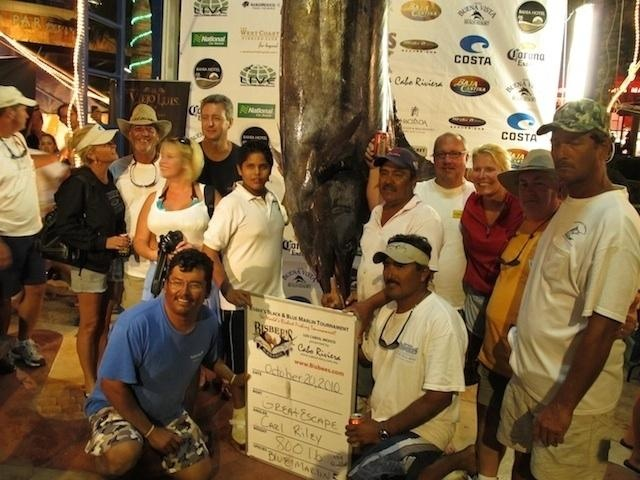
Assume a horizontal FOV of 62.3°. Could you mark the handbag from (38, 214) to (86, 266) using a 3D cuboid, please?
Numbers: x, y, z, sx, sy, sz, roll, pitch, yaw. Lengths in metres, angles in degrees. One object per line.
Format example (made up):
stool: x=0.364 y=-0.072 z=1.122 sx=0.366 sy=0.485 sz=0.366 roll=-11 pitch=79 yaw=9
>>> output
handbag: x=-2.354 y=0.015 z=4.773 sx=0.312 sy=0.550 sz=0.398 roll=6 pitch=-23 yaw=-24

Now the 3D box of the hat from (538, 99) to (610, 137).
hat: x=1.464 y=-0.700 z=3.018 sx=0.422 sy=0.225 sz=0.306 roll=-3 pitch=9 yaw=-28

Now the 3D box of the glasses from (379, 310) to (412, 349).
glasses: x=0.548 y=0.637 z=3.676 sx=0.066 sy=0.269 sz=0.193 roll=35 pitch=-13 yaw=-35

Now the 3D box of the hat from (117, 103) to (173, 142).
hat: x=-1.774 y=-1.240 z=5.366 sx=0.423 sy=0.213 sz=0.514 roll=1 pitch=3 yaw=-9

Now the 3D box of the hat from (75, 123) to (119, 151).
hat: x=-1.993 y=-0.922 z=4.748 sx=0.309 sy=0.129 sz=0.208 roll=-17 pitch=23 yaw=9

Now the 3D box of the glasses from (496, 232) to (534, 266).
glasses: x=1.393 y=0.061 z=3.781 sx=0.063 sy=0.213 sz=0.204 roll=27 pitch=-7 yaw=-13

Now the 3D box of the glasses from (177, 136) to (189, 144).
glasses: x=-1.153 y=-0.849 z=4.555 sx=0.035 sy=0.048 sz=0.118 roll=-23 pitch=10 yaw=-4

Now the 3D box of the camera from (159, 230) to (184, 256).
camera: x=-1.158 y=0.020 z=4.151 sx=0.177 sy=0.164 sz=0.183 roll=-1 pitch=14 yaw=-16

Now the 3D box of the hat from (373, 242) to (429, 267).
hat: x=0.545 y=0.139 z=3.514 sx=0.257 sy=0.094 sz=0.184 roll=17 pitch=-12 yaw=-19
